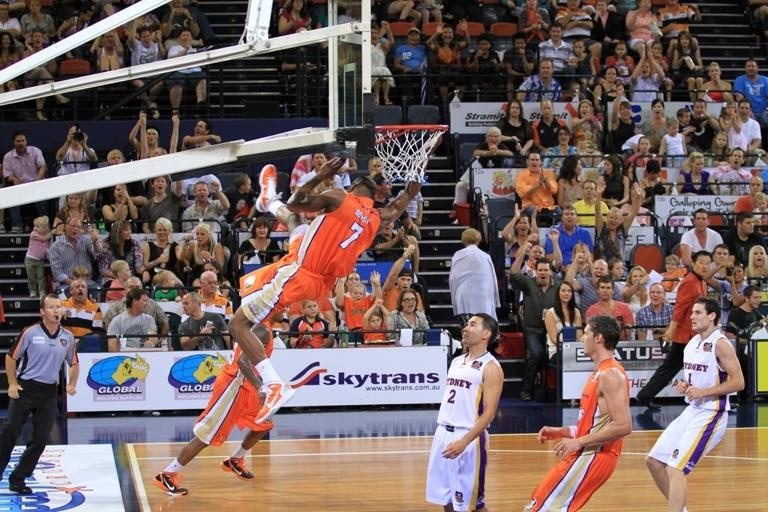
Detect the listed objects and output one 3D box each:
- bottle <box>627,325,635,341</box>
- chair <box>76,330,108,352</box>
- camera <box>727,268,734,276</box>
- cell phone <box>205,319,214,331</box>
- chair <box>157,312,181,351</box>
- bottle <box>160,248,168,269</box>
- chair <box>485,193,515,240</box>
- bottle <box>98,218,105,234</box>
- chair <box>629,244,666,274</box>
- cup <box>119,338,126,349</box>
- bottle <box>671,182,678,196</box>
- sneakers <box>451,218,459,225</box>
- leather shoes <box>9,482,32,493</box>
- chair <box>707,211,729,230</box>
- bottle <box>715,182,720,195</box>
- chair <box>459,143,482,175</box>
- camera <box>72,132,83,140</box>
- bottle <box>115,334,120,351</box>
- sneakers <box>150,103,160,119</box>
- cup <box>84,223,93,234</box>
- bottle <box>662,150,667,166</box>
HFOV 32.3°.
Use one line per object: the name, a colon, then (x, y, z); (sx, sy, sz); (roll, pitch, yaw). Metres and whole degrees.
bottle: (4.242, 1.309, 22.877); (0.169, 0.191, 0.261); (3, 27, 4)
chair: (-4.833, 1.434, 22.096); (0.312, 0.224, 0.337); (1, 4, 5)
camera: (6.134, 0.266, 23.550); (0.128, 0.145, 0.145); (0, 1, 14)
cell phone: (-2.926, 1.148, 22.260); (0.129, 0.258, 0.140); (1, -11, 0)
chair: (-3.644, 1.284, 22.507); (0.399, 0.789, 0.561); (1, -10, -5)
bottle: (-3.858, 0.021, 23.304); (0.146, 0.344, 0.158); (0, 2, 0)
chair: (2.139, -0.714, 24.881); (0.506, 0.791, 0.878); (1, 2, 29)
bottle: (-5.060, -0.532, 23.818); (0.145, 0.243, 0.355); (-1, 1, -13)
chair: (4.788, 0.057, 24.324); (0.438, 0.727, 0.509); (0, 3, -4)
cup: (-4.354, 1.453, 22.106); (0.100, 0.177, 0.048); (-1, 2, -14)
bottle: (5.590, -1.288, 25.529); (0.155, 0.175, 0.252); (0, 1, 13)
sneakers: (1.372, -0.668, 25.741); (0.080, 0.103, 0.233); (-1, 1, -13)
leather shoes: (-5.217, 3.312, 19.016); (0.310, 0.143, 0.143); (7, 3, 14)
chair: (6.304, -0.654, 24.931); (0.373, 0.337, 0.581); (0, 1, 14)
bottle: (6.381, -1.289, 25.304); (0.122, 0.223, 0.540); (0, 1, 12)
chair: (1.666, -1.944, 26.263); (0.377, 0.611, 0.591); (-1, 1, -12)
camera: (-5.772, -2.263, 25.027); (0.171, 0.167, 0.215); (-1, 2, -36)
bottle: (-4.437, 1.444, 22.058); (0.062, 0.240, 0.066); (0, 2, 0)
sneakers: (-4.579, -2.876, 26.472); (0.138, 0.174, 0.391); (-1, -13, -5)
cup: (-5.284, -0.499, 23.697); (0.149, 0.190, 0.152); (0, 1, 0)
bottle: (5.488, -1.905, 26.042); (0.150, 0.299, 0.679); (0, 1, 11)
